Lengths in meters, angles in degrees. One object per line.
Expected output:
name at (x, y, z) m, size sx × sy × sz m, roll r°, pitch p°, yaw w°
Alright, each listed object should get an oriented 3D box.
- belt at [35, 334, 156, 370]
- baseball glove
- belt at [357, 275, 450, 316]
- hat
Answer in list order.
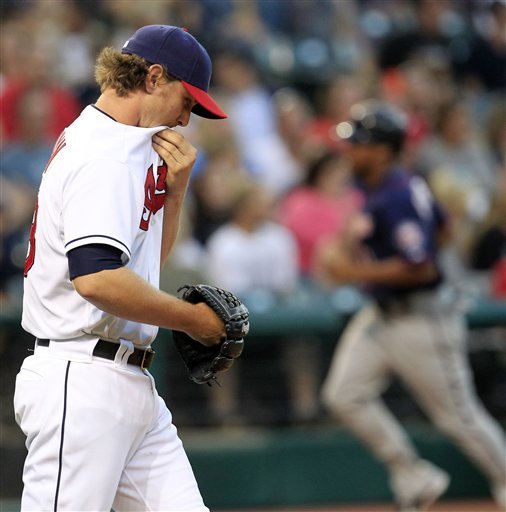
belt at (-0.461, 0.303, 3.431) m, size 0.187 × 0.177 × 0.057 m, roll 13°, pitch 79°, yaw 14°
baseball glove at (-0.145, 0.262, 3.622) m, size 0.254 × 0.339 × 0.155 m, roll -20°, pitch 29°, yaw -27°
belt at (0.721, 0.165, 4.729) m, size 0.404 × 0.150 × 0.196 m, roll -5°, pitch 40°, yaw -14°
hat at (-0.248, -0.650, 3.574) m, size 0.410 × 0.232 × 0.274 m, roll 30°, pitch -4°, yaw -8°
